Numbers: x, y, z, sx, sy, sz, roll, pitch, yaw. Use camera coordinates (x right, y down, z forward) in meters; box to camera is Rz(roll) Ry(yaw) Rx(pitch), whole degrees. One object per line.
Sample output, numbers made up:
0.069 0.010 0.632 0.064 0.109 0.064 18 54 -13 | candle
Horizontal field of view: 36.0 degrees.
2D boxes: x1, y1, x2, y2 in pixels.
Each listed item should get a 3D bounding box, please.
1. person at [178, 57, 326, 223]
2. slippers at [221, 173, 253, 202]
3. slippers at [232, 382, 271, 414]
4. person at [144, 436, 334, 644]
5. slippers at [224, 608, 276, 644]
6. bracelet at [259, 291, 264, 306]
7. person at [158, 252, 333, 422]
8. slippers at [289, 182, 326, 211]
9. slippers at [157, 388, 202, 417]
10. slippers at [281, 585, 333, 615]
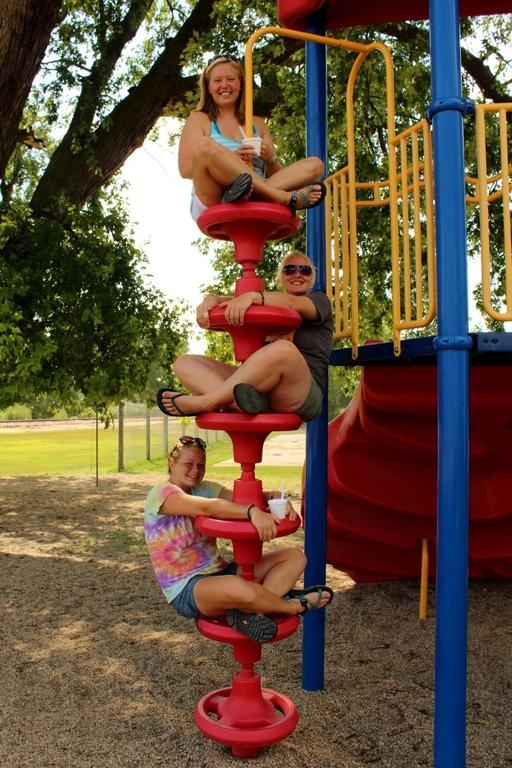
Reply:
-0.027 -1.039 3.225 0.571 0.702 0.606 -3 -1 -20 | person
-0.076 -0.729 2.958 0.039 0.068 0.118 20 -46 -36 | slippers
-0.018 0.066 2.992 0.069 0.064 0.175 19 -25 48 | slippers
-0.137 0.635 3.386 0.775 0.782 0.441 1 1 38 | person
-0.012 0.932 3.145 0.204 0.093 0.087 25 12 29 | slippers
0.023 -0.335 3.020 0.013 0.039 0.041 1 -1 -12 | bracelet
0.013 -0.226 3.279 0.679 0.735 0.632 3 -5 -32 | person
0.203 -0.770 3.215 0.055 0.077 0.210 19 38 38 | slippers
-0.331 0.078 3.296 0.163 0.123 0.483 1 0 -7 | slippers
0.210 0.911 3.363 0.273 0.093 0.070 -2 24 -14 | slippers
